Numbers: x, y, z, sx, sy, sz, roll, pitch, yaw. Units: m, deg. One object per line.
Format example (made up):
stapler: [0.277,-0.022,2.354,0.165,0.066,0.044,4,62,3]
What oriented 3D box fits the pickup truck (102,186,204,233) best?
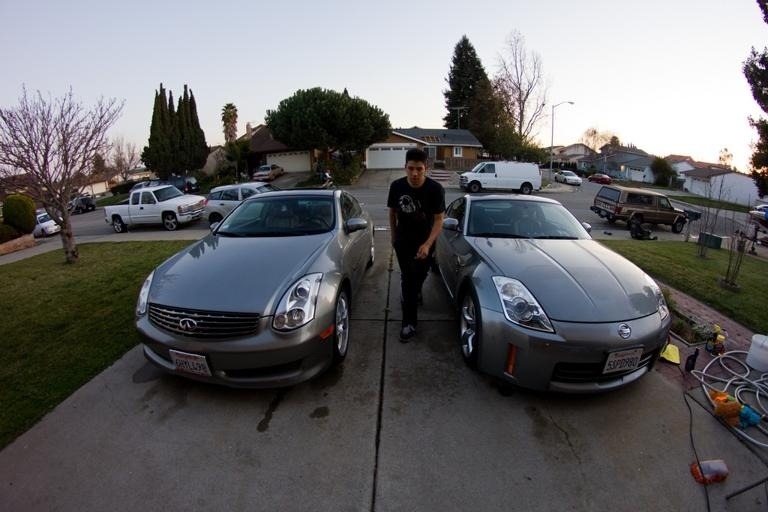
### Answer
pickup truck: [-8.019,-1.705,13.372,2.923,1.253,1.843,0,16,14]

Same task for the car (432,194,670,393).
car: [1.782,0.121,5.209,1.512,1.135,3.312,1,17,-2]

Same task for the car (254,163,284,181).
car: [-9.786,-7.158,32.400,1.216,0.962,3.120,1,17,6]

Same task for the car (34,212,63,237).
car: [-13.094,-1.158,14.734,1.047,0.880,2.399,-8,12,-43]

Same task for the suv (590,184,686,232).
suv: [9.591,-1.960,14.611,3.220,1.586,1.883,-3,18,-10]

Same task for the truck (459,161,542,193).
truck: [7.458,-4.868,23.512,3.942,1.715,2.275,1,11,-2]
